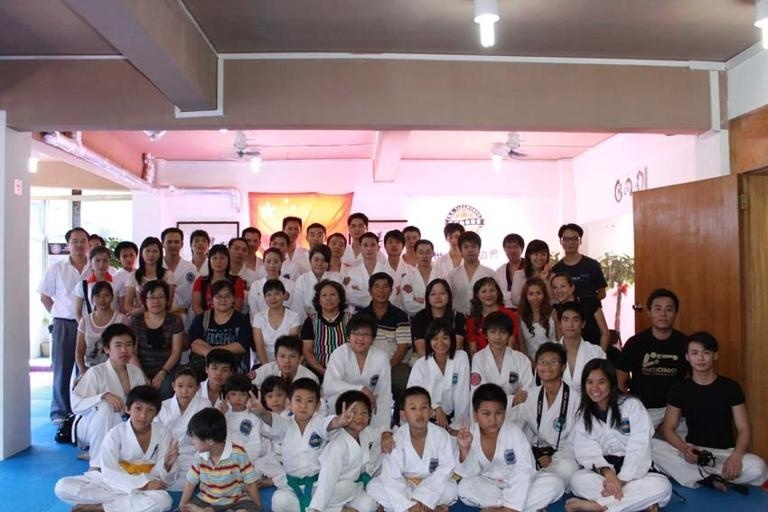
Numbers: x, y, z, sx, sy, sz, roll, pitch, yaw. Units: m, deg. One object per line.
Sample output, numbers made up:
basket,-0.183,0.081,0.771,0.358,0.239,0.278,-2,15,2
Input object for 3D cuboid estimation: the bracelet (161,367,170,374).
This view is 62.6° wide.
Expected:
bracelet,-2.069,1.095,5.988,0.064,0.047,0.064,1,-6,-5

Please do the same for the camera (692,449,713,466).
camera,2.645,1.684,5.219,0.167,0.131,0.069,0,-2,9

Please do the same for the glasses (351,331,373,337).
glasses,-0.191,0.700,5.641,0.204,0.050,0.061,1,-2,-8

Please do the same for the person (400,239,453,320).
person,0.440,0.397,6.593,0.510,1.062,0.338,-4,5,-10

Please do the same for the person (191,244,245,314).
person,-1.702,0.286,6.497,0.548,0.783,0.406,2,-2,-4

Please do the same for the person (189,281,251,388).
person,-1.512,0.750,6.444,0.790,1.174,0.809,0,-4,-6

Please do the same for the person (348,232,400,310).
person,-0.152,0.157,6.654,0.525,0.820,0.424,-2,8,-8

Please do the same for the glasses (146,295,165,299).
glasses,-2.177,0.397,6.028,0.157,0.065,0.060,1,-2,-15

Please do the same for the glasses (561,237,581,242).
glasses,1.924,-0.165,6.530,0.157,0.049,0.064,0,-3,15

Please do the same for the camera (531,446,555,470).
camera,1.335,1.691,5.299,0.133,0.065,0.183,-11,34,29

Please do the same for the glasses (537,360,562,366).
glasses,1.387,0.905,5.295,0.178,0.052,0.042,0,-2,-1

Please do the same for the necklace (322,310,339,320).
necklace,-0.514,0.579,6.057,0.092,0.093,0.022,1,-8,-3
